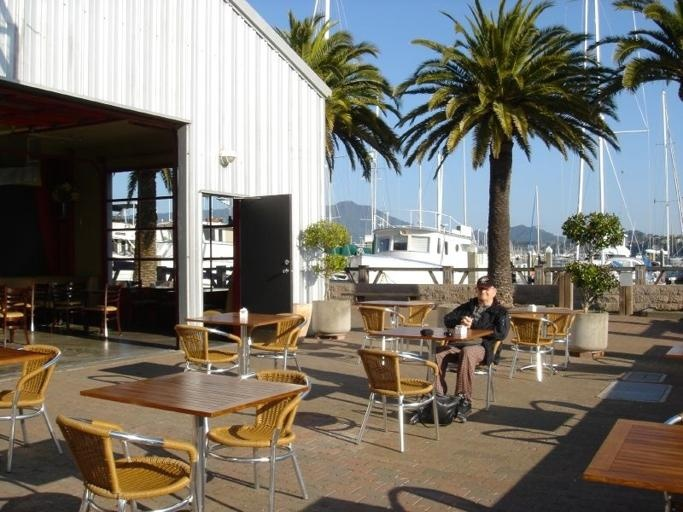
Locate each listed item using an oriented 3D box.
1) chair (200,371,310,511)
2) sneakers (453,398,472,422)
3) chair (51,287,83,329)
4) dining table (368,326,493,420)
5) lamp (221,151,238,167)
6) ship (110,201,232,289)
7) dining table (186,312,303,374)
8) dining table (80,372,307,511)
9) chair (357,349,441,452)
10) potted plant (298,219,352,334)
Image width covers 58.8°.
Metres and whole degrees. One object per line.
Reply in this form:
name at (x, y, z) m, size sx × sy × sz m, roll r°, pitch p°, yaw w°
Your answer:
chair at (-0.702, 1.435, 5.119) m, size 0.954 × 1.223 × 0.920 m, roll -4°, pitch -7°, yaw 39°
sneakers at (1.377, 1.771, 6.882) m, size 0.116 × 0.158 × 0.331 m, roll -2°, pitch -10°, yaw 22°
chair at (-6.456, 1.169, 14.363) m, size 0.600 × 1.146 × 1.761 m, roll 2°, pitch -1°, yaw -24°
dining table at (1.191, 1.110, 7.249) m, size 1.197 × 0.980 × 1.034 m, roll 3°, pitch 9°, yaw 30°
lamp at (-2.145, -1.878, 11.856) m, size 0.231 × 0.313 × 0.434 m, roll 1°, pitch -1°, yaw 32°
ship at (-4.153, -0.330, 13.833) m, size 3.742 × 2.340 × 0.114 m, roll -2°, pitch 3°, yaw -34°
dining table at (-1.399, 0.991, 8.733) m, size 1.263 × 1.300 × 1.339 m, roll 2°, pitch 1°, yaw 22°
dining table at (-1.109, 1.075, 4.691) m, size 1.157 × 1.177 × 1.199 m, roll 2°, pitch 1°, yaw 41°
chair at (0.669, 1.371, 6.309) m, size 0.942 × 1.208 × 0.879 m, roll 0°, pitch 0°, yaw -42°
potted plant at (-0.376, 0.068, 13.497) m, size 1.029 × 1.679 × 0.830 m, roll 2°, pitch -1°, yaw -1°
